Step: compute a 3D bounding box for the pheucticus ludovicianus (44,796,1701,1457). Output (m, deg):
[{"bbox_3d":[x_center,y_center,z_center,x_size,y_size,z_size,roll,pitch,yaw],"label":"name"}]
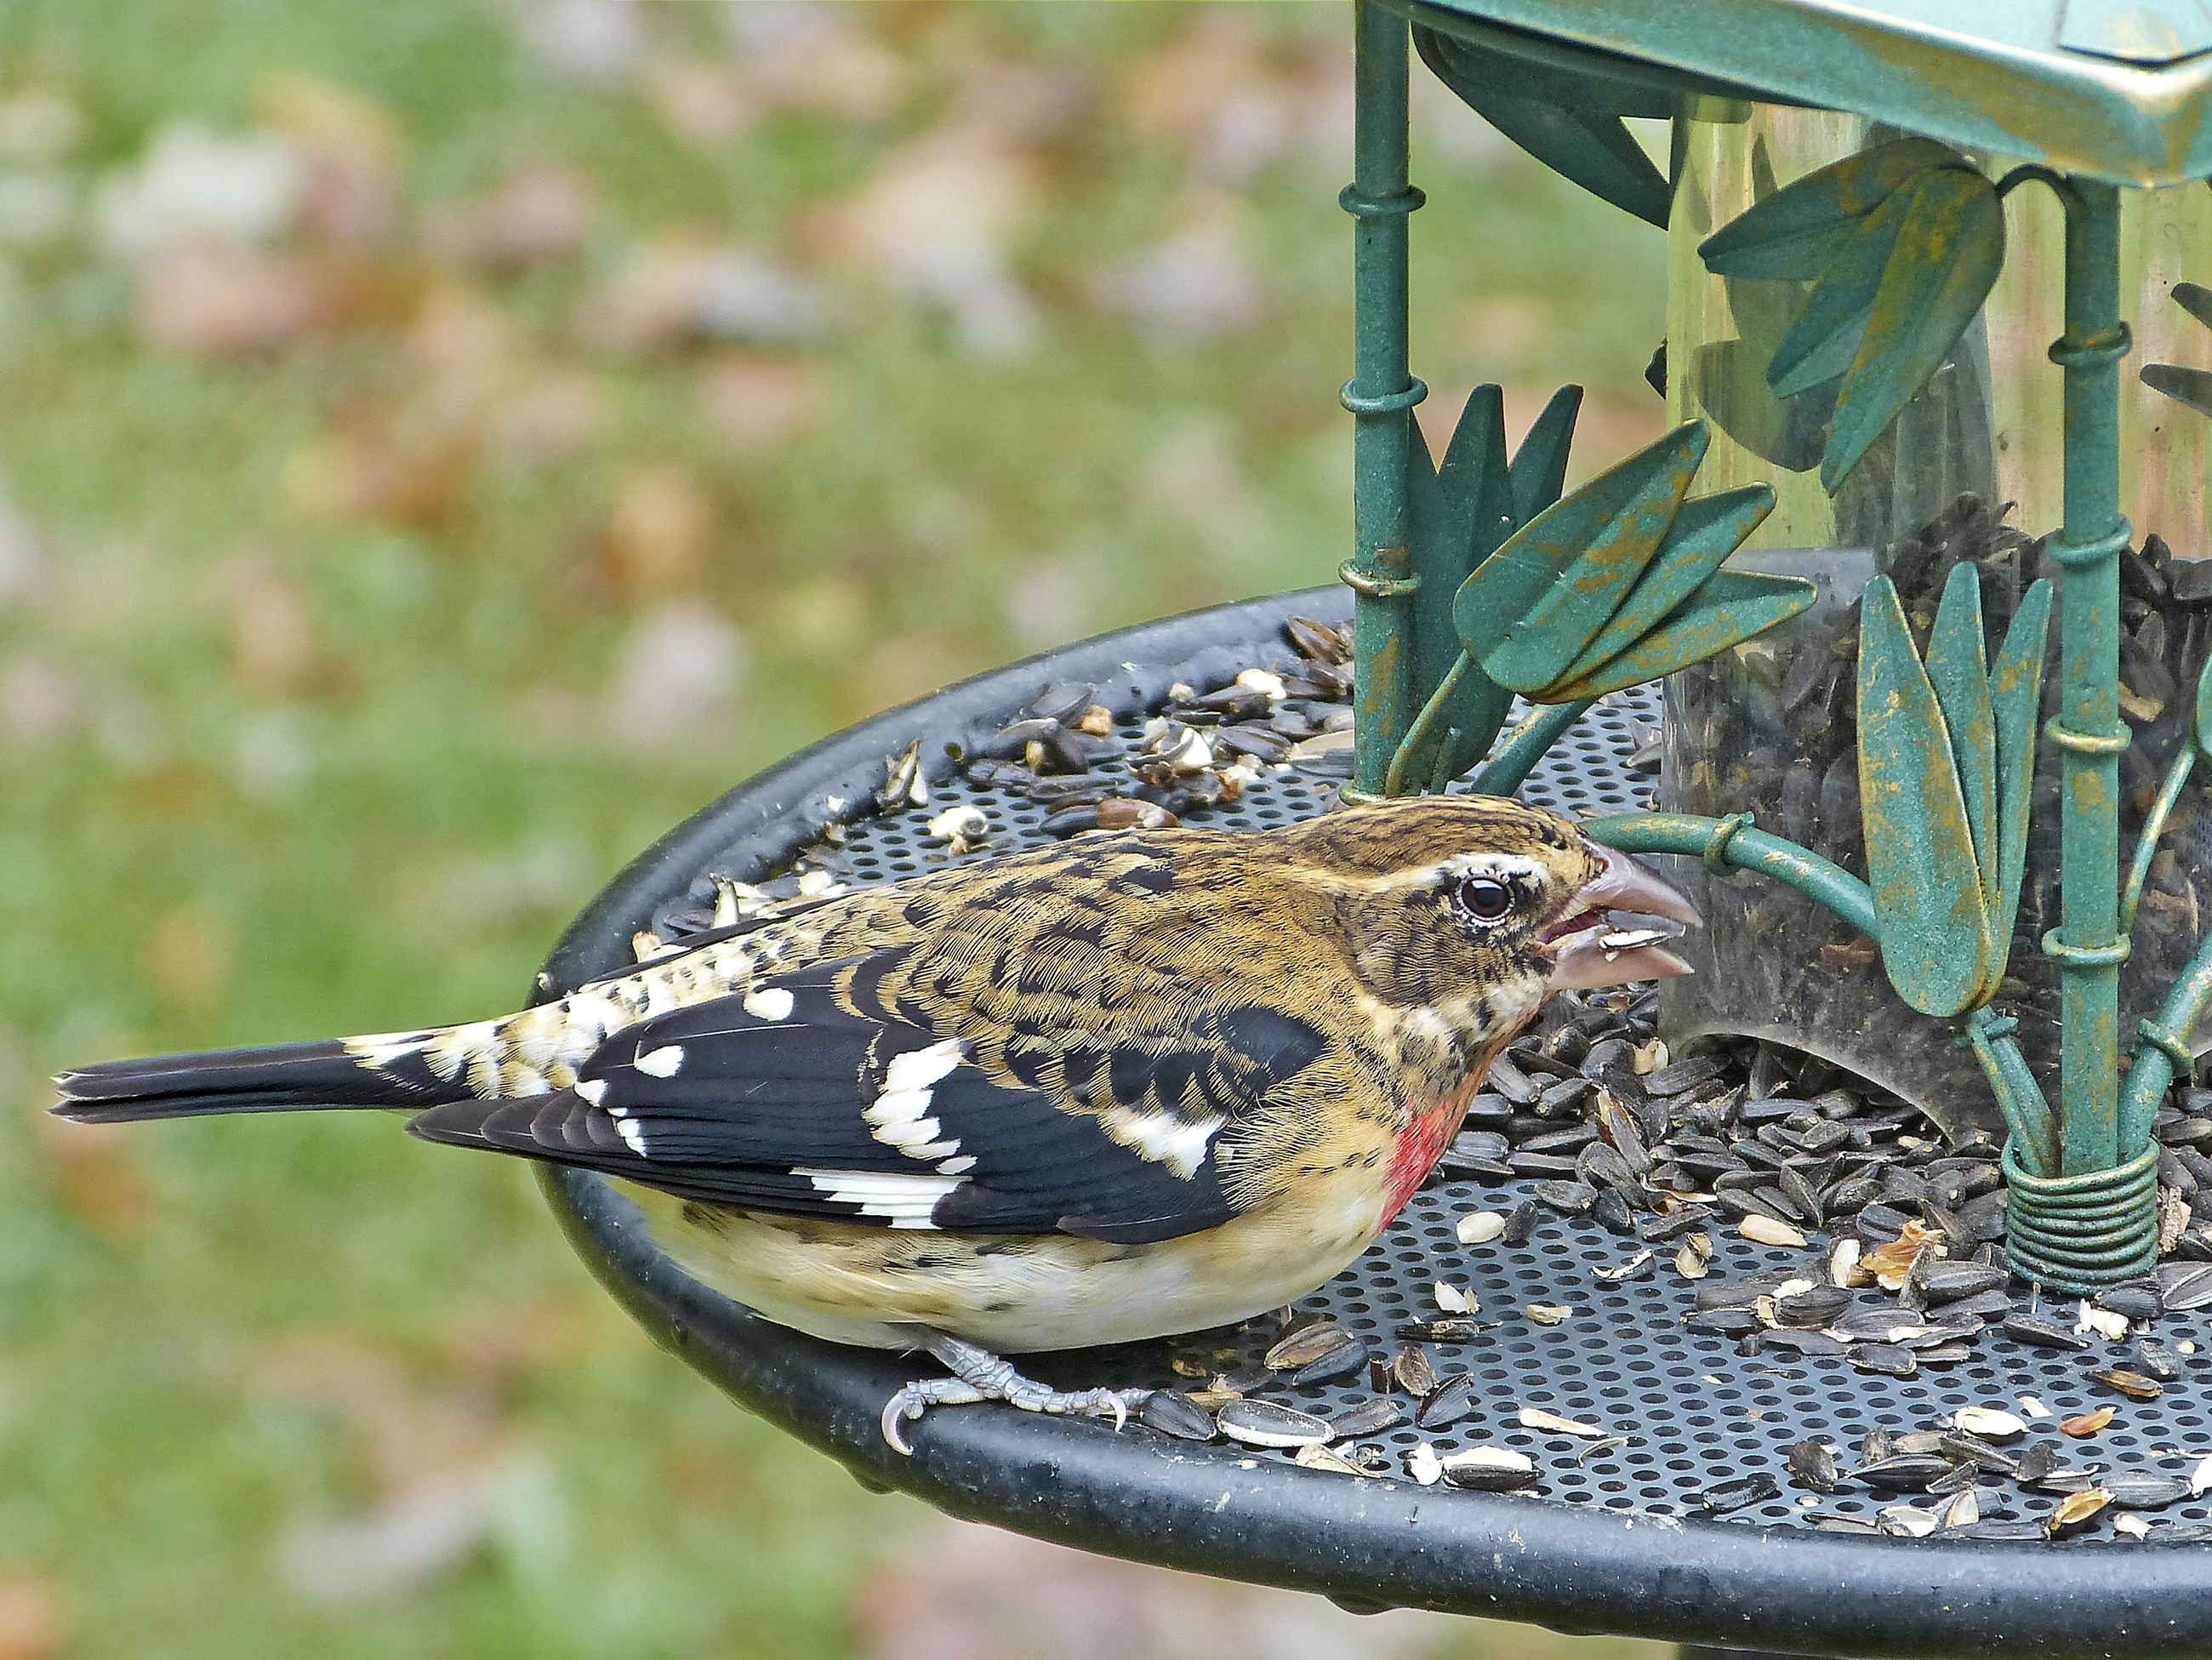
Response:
[{"bbox_3d":[-0.225,0.312,3.087,1.704,0.550,0.472,-2,10,7],"label":"pheucticus ludovicianus"}]
